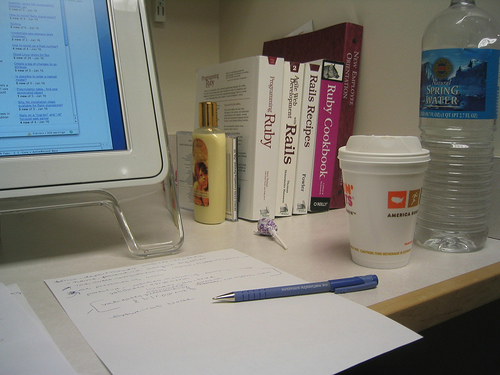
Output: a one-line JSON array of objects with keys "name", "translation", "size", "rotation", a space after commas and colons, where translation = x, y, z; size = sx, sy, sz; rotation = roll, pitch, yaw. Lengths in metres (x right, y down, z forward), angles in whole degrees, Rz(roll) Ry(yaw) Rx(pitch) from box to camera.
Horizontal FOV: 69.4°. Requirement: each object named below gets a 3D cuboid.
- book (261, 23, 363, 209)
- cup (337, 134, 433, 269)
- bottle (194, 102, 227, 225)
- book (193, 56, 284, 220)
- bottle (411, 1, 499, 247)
[{"name": "book", "translation": [0.111, -0.172, 0.940], "size": [0.060, 0.422, 0.426], "rotation": [7, 2, 44]}, {"name": "cup", "translation": [0.233, 0.023, 0.631], "size": [0.148, 0.209, 0.152], "rotation": [-2, 3, 0]}, {"name": "bottle", "translation": [-0.091, -0.050, 0.788], "size": [0.069, 0.262, 0.052], "rotation": [0, 14, -3]}, {"name": "book", "translation": [-0.045, -0.128, 0.894], "size": [0.105, 0.362, 0.282], "rotation": [-13, 20, -43]}, {"name": "bottle", "translation": [0.412, -0.129, 0.708], "size": [0.161, 0.459, 0.191], "rotation": [7, 15, 24]}]
